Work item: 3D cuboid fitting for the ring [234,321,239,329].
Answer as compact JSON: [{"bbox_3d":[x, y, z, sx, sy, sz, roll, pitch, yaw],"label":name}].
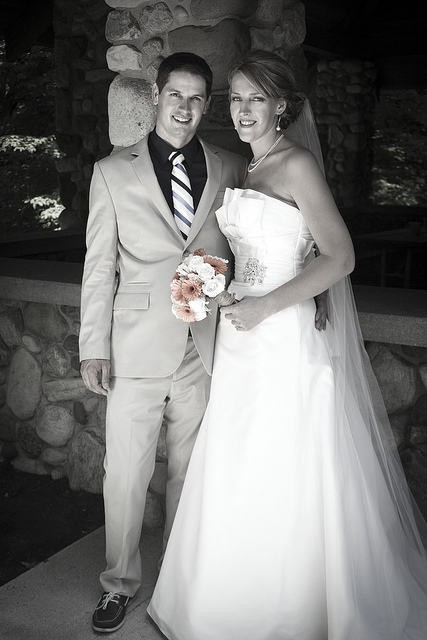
[{"bbox_3d":[0.066,0.015,1.384,0.012,0.027,0.039,-7,5,3],"label":"ring"}]
